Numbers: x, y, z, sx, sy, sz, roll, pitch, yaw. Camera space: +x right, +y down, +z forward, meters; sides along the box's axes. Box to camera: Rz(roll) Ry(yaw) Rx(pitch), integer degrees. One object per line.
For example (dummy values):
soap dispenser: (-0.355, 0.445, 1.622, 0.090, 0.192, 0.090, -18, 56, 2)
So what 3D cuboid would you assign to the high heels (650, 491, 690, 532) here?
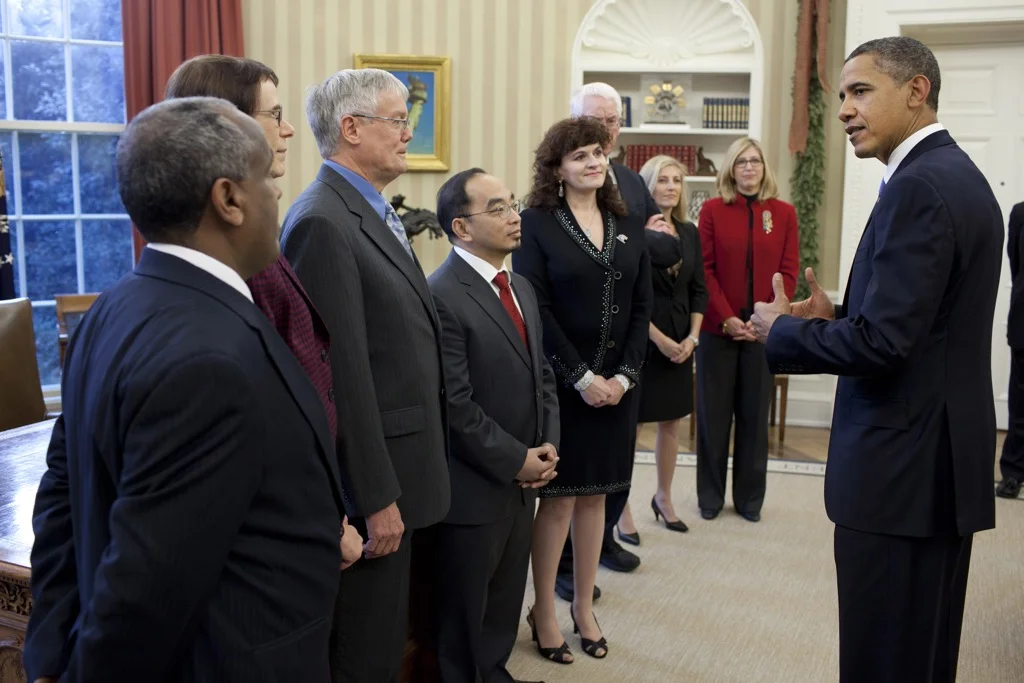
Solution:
high heels: (0.889, 0.970, 4.736, 0.091, 0.153, 0.275, -6, 9, -37)

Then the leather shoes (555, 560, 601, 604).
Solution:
leather shoes: (0.255, 1.142, 3.910, 0.297, 0.145, 0.111, -5, -7, 34)

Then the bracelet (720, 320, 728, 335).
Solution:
bracelet: (1.192, -0.081, 4.717, 0.015, 0.051, 0.033, 18, 5, 38)

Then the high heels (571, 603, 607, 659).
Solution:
high heels: (0.313, 1.238, 3.587, 0.080, 0.082, 0.277, -3, 16, -19)

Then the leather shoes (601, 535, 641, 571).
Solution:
leather shoes: (0.524, 1.084, 4.281, 0.261, 0.191, 0.100, 1, 3, 26)

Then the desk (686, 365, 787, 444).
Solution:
desk: (1.832, 0.447, 6.099, 0.667, 0.397, 0.714, 6, 2, 22)

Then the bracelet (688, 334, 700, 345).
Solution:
bracelet: (0.970, -0.013, 4.509, 0.045, 0.017, 0.035, 39, 26, 8)

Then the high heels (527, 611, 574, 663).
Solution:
high heels: (0.152, 1.230, 3.526, 0.096, 0.169, 0.287, -9, 10, -36)
